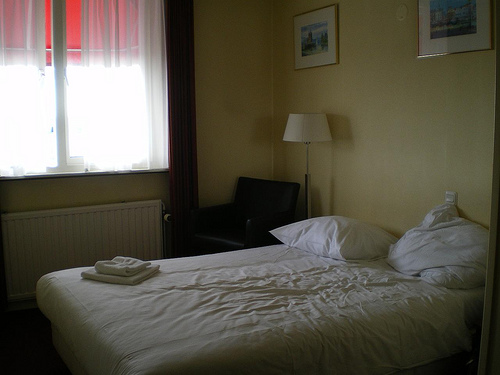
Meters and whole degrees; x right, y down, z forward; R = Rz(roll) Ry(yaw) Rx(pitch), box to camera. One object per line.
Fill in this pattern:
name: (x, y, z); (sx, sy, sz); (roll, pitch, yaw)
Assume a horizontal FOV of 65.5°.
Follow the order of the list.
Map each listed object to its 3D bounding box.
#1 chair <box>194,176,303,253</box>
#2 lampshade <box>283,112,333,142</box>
chair: (-0.007, 0.269, 4.150); (0.720, 1.189, 0.870); (7, 4, 40)
lampshade: (0.634, -0.618, 4.297); (0.545, 0.342, 0.587); (1, -1, 10)
